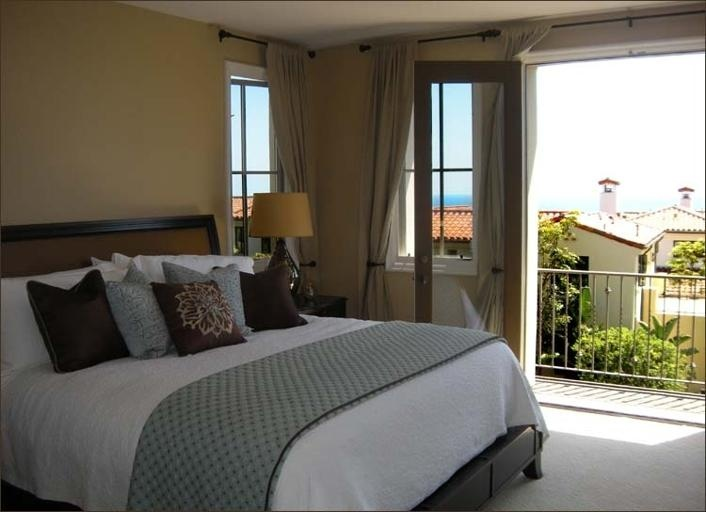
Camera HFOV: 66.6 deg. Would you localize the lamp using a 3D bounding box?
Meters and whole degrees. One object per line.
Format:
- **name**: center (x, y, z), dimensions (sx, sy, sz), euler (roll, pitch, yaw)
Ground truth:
- **lamp**: center (-0.610, -0.087, 4.517), dimensions (0.495, 0.906, 0.527), euler (2, 7, 16)
